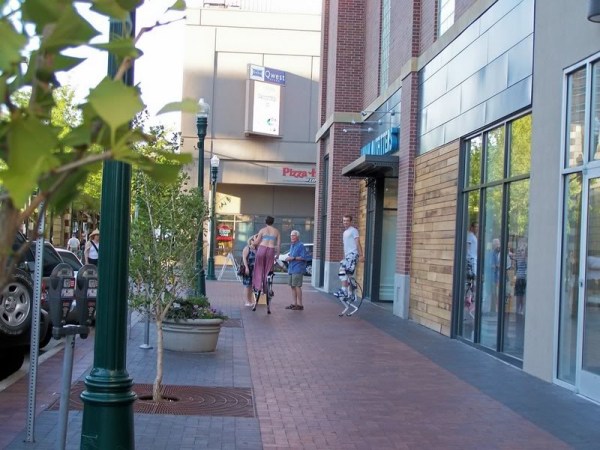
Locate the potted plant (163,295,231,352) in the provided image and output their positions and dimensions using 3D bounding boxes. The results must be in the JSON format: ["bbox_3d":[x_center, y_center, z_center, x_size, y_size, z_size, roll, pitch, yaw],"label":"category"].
[{"bbox_3d":[-1.723,1.680,9.471,0.866,0.660,1.036,0,-9,17],"label":"potted plant"}]

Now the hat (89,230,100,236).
[{"bbox_3d":[-6.179,0.262,16.124,0.266,0.137,0.270,-37,-5,30],"label":"hat"}]

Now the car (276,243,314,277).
[{"bbox_3d":[-0.177,2.148,32.622,2.476,1.523,1.565,5,-5,-8],"label":"car"}]

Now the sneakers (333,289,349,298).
[{"bbox_3d":[1.122,1.916,14.847,0.490,0.303,0.171,5,1,43],"label":"sneakers"}]

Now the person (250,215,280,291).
[{"bbox_3d":[-0.961,0.829,15.016,0.667,1.602,0.934,2,-1,-6],"label":"person"}]

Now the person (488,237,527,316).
[{"bbox_3d":[3.690,0.882,9.377,0.264,1.284,1.398,1,-2,8],"label":"person"}]

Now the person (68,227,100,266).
[{"bbox_3d":[-8.579,0.830,21.228,0.843,1.634,0.594,2,10,12],"label":"person"}]
